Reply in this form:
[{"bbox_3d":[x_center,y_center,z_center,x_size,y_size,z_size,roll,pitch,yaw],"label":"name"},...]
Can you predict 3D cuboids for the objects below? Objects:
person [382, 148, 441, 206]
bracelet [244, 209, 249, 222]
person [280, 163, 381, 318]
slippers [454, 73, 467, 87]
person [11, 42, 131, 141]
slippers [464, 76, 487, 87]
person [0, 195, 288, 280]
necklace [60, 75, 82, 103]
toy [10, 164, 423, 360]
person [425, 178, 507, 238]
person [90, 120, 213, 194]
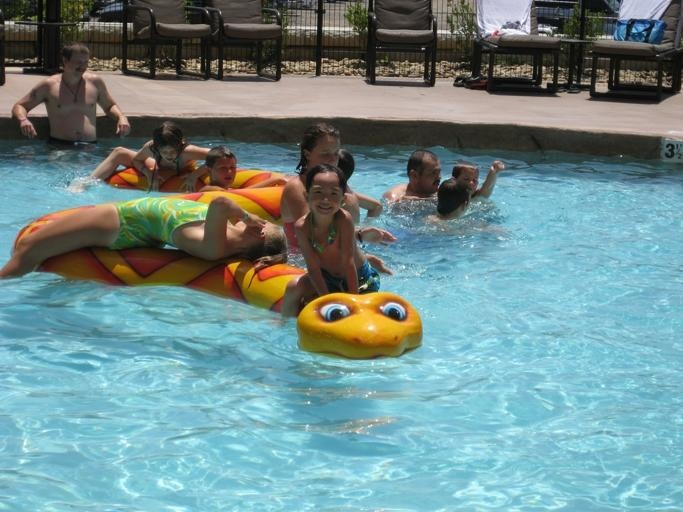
[{"bbox_3d":[0.682,-0.734,6.382,0.486,0.319,0.862,13,22,33],"label":"person"},{"bbox_3d":[-0.596,-0.258,4.446,0.041,0.078,0.091,-2,13,-7],"label":"bracelet"},{"bbox_3d":[-0.040,-0.076,4.143,0.598,0.920,0.333,-2,16,-9],"label":"person"},{"bbox_3d":[2.018,-3.023,12.097,0.281,0.203,0.597,7,22,18],"label":"slippers"},{"bbox_3d":[-2.962,-1.769,7.644,1.115,1.067,0.759,-4,15,-19],"label":"person"},{"bbox_3d":[2.236,-2.903,11.765,0.451,0.137,0.210,1,11,-19],"label":"slippers"},{"bbox_3d":[-1.324,-0.117,4.662,1.603,0.333,0.691,3,18,-3],"label":"person"},{"bbox_3d":[-2.928,-1.811,7.736,0.212,0.245,0.081,-3,16,-13],"label":"necklace"},{"bbox_3d":[-0.673,0.182,4.335,2.243,0.246,1.252,13,19,29],"label":"toy"},{"bbox_3d":[1.050,-0.407,6.100,0.976,0.217,0.279,7,46,0],"label":"person"},{"bbox_3d":[-1.731,-0.909,6.745,1.604,0.420,0.544,3,20,-15],"label":"person"}]
